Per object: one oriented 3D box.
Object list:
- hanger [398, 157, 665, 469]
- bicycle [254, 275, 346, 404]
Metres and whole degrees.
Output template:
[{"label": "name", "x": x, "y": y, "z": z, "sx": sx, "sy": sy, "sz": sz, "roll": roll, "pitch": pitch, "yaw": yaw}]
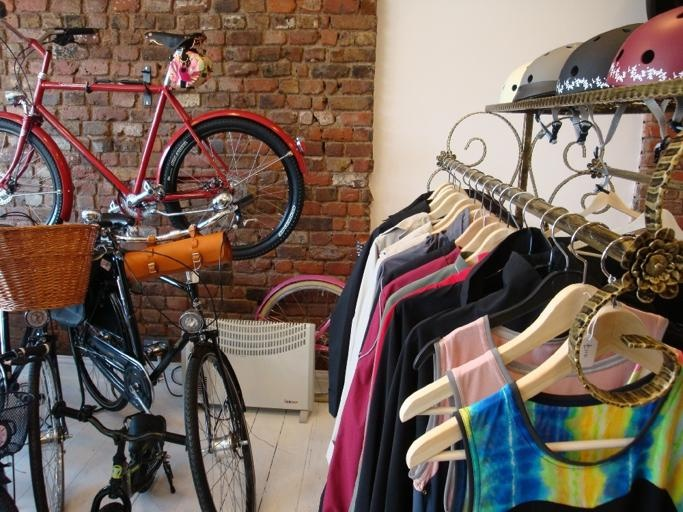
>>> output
[{"label": "hanger", "x": 0.435, "y": 0.086, "z": 1.508, "sx": 0.429, "sy": 0.286, "sz": 0.674, "roll": 1, "pitch": 23, "yaw": -8}, {"label": "bicycle", "x": -0.222, "y": 0.359, "z": 3.243, "sx": 0.457, "sy": 0.544, "sz": 0.245, "roll": 0, "pitch": 8, "yaw": -7}]
